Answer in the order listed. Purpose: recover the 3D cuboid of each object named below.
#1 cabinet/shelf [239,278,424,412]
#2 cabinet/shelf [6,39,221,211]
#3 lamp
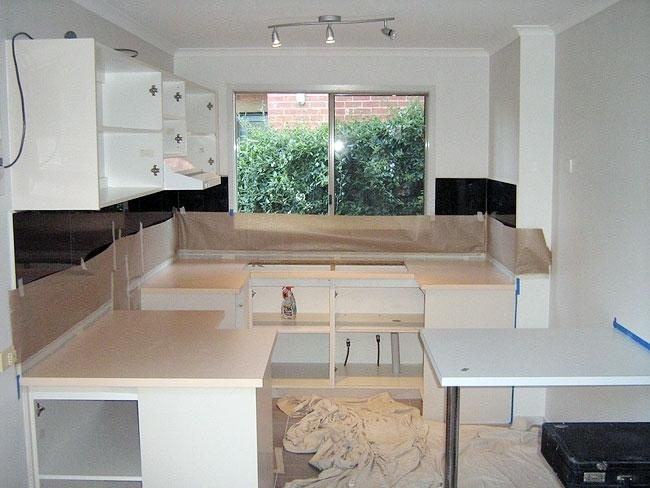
[{"bbox_3d":[0.094,0.808,4.194,1.023,0.729,0.339,-1,4,-1],"label":"cabinet/shelf"},{"bbox_3d":[-1.149,-0.729,3.161,0.594,0.832,1.636,1,13,6],"label":"cabinet/shelf"},{"bbox_3d":[0.029,-1.482,3.630,0.938,0.188,0.728,2,13,12],"label":"lamp"}]
